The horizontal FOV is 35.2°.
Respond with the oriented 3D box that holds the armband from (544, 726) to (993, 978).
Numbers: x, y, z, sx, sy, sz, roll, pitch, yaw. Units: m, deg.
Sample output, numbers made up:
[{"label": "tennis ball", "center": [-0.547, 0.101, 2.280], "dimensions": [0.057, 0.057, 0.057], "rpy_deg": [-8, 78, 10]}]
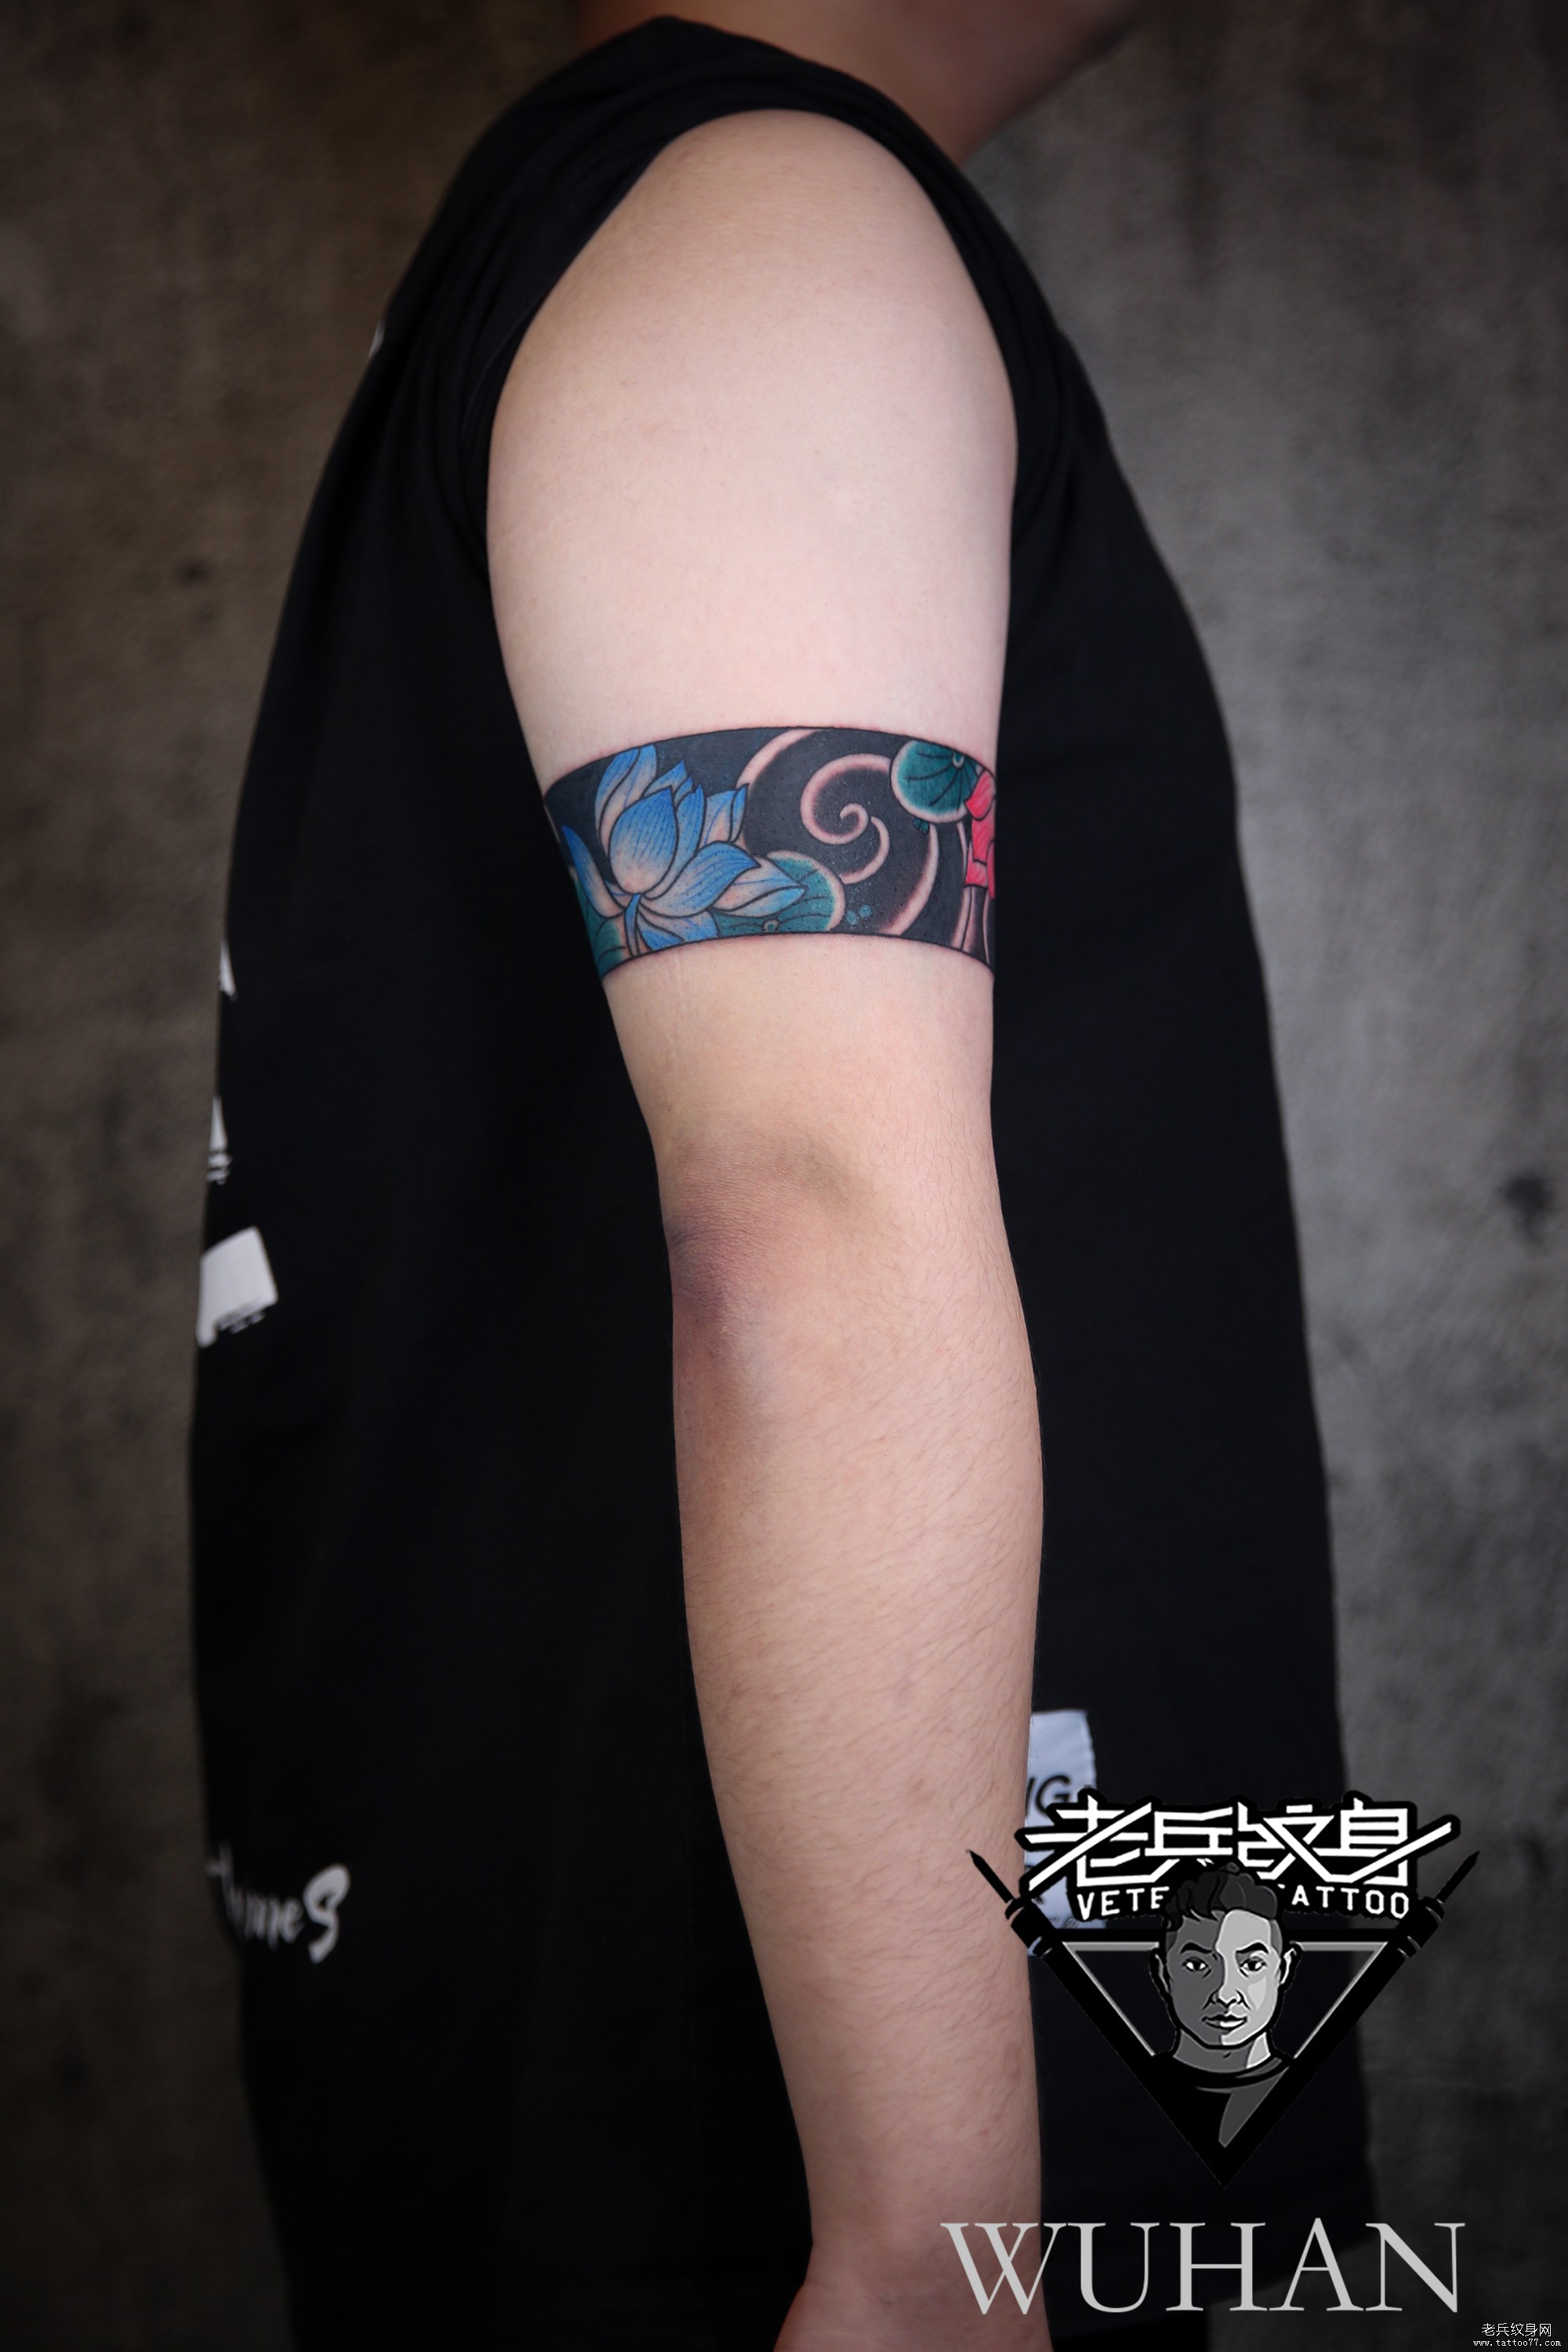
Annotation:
[{"label": "armband", "center": [0.002, -0.125, 1.001], "dimensions": [0.162, 0.159, 0.052], "rpy_deg": [-7, 93, -12]}]
